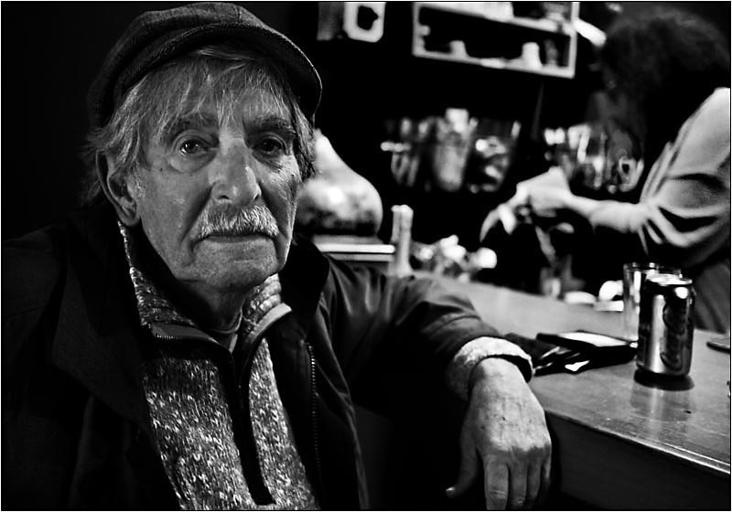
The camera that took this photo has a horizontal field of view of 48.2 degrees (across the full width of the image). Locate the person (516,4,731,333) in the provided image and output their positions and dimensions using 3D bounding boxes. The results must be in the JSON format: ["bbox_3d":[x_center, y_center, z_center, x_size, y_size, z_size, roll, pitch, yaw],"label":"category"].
[{"bbox_3d":[1.075,-0.333,3.672,0.834,1.641,1.008,5,0,18],"label":"person"}]

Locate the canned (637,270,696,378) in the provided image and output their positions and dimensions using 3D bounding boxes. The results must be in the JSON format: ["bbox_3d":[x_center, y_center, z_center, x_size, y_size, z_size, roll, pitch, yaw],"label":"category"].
[{"bbox_3d":[0.817,0.196,2.253,0.141,0.276,0.112,6,9,35],"label":"canned"}]

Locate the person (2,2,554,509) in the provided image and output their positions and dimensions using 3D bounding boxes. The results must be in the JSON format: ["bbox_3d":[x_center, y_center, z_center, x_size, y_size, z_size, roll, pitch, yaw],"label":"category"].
[{"bbox_3d":[-0.282,-0.009,2.253,0.792,1.301,1.387,-1,-1,45],"label":"person"}]
